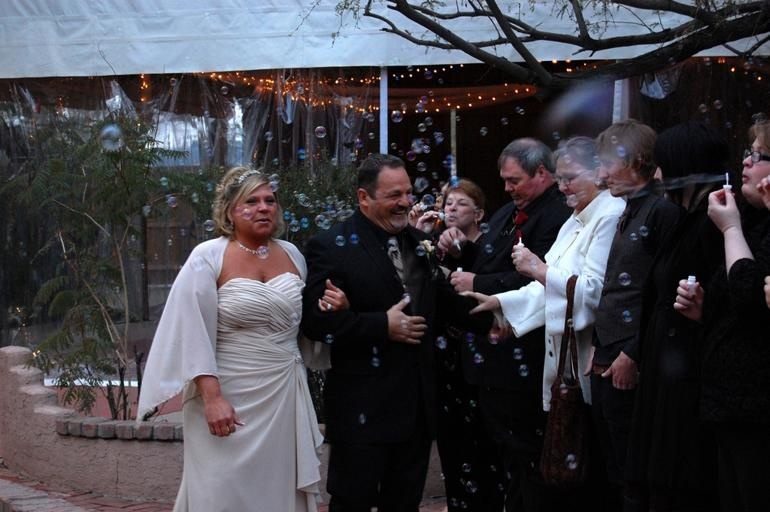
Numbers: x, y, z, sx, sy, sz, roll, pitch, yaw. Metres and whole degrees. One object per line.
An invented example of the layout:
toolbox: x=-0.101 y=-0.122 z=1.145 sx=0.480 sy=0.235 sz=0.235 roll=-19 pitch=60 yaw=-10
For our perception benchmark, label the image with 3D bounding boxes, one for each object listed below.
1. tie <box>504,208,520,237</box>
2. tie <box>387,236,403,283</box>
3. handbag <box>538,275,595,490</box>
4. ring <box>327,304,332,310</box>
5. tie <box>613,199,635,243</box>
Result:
tie: x=1.019 y=-0.269 z=6.181 sx=0.073 sy=0.196 sz=0.138 roll=9 pitch=-3 yaw=-20
tie: x=0.080 y=0.021 z=5.567 sx=0.095 sy=0.349 sz=0.090 roll=-15 pitch=28 yaw=-5
handbag: x=1.296 y=0.876 z=5.455 sx=0.259 sy=1.441 sz=0.391 roll=2 pitch=5 yaw=36
ring: x=-0.384 y=0.351 z=5.335 sx=0.037 sy=0.037 sz=0.010 roll=-1 pitch=4 yaw=-4
tie: x=1.719 y=-0.262 z=5.589 sx=0.071 sy=0.241 sz=0.173 roll=19 pitch=-15 yaw=-26
